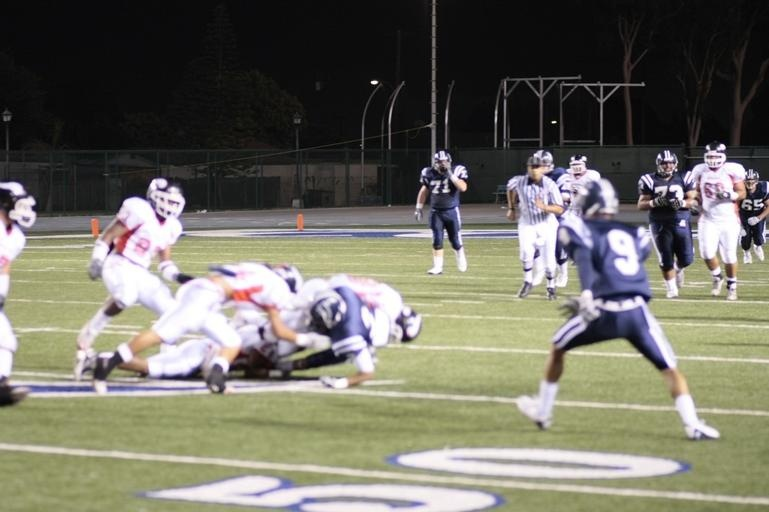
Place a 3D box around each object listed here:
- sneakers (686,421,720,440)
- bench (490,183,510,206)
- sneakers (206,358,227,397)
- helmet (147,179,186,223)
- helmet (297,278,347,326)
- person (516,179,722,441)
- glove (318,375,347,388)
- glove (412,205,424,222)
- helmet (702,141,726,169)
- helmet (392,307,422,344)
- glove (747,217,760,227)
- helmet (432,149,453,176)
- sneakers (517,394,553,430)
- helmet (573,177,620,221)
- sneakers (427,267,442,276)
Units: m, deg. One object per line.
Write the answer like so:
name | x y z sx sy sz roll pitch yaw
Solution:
sneakers | 2.612 1.429 8.641 0.272 0.124 0.146 -4 5 -1
bench | 5.450 -2.972 51.789 1.069 1.273 1.032 1 5 9
sneakers | -1.556 1.130 9.732 0.195 0.288 0.122 6 -31 0
helmet | -2.129 -0.554 10.444 0.459 0.268 0.349 9 -9 33
helmet | -0.581 0.445 9.803 0.385 0.425 0.569 -1 3 -15
person | 1.840 0.454 8.548 1.473 2.136 0.555 0 3 6
glove | -0.477 1.204 10.041 0.272 0.092 0.101 4 -33 18
glove | 0.662 -0.817 20.410 0.149 0.407 0.163 3 1 39
helmet | 4.820 -1.451 15.283 0.276 0.383 0.493 0 3 14
helmet | 0.238 0.711 10.456 0.135 0.282 0.354 18 18 -11
glove | 6.854 -0.626 19.459 0.203 0.090 0.262 -2 -1 14
helmet | 1.131 -1.658 18.922 0.425 0.403 0.520 -1 2 -9
sneakers | 1.245 1.302 8.855 0.324 0.148 0.241 35 -4 -9
helmet | 1.744 -0.477 8.781 0.299 0.314 0.349 2 24 -9
sneakers | 0.899 0.282 18.669 0.260 0.125 0.426 -1 3 0
